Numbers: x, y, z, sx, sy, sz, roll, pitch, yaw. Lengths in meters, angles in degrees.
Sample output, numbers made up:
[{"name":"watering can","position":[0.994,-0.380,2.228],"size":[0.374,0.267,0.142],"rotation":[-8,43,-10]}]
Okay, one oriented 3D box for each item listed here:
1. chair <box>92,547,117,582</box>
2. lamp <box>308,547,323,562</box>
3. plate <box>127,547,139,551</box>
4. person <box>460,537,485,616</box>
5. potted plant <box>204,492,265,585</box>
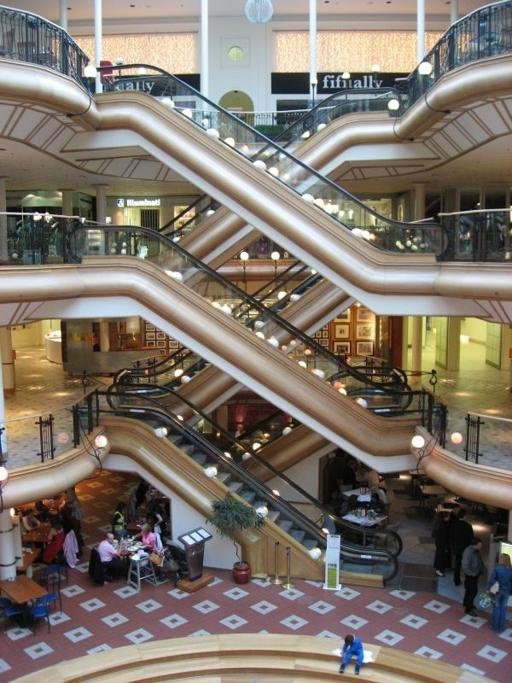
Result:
[{"name":"chair","position":[-2.565,3.795,12.077],"size":[0.463,0.570,0.383],"rotation":[-2,6,-15]},{"name":"lamp","position":[1.035,3.660,12.346],"size":[0.229,0.166,0.203],"rotation":[0,5,6]},{"name":"plate","position":[-2.061,3.468,11.982],"size":[0.165,0.024,0.214],"rotation":[-1,5,-10]},{"name":"person","position":[3.269,3.575,10.857],"size":[0.273,1.126,0.422],"rotation":[1,6,16]},{"name":"potted plant","position":[-0.345,3.349,12.186],"size":[0.883,1.378,0.572],"rotation":[1,6,11]}]
